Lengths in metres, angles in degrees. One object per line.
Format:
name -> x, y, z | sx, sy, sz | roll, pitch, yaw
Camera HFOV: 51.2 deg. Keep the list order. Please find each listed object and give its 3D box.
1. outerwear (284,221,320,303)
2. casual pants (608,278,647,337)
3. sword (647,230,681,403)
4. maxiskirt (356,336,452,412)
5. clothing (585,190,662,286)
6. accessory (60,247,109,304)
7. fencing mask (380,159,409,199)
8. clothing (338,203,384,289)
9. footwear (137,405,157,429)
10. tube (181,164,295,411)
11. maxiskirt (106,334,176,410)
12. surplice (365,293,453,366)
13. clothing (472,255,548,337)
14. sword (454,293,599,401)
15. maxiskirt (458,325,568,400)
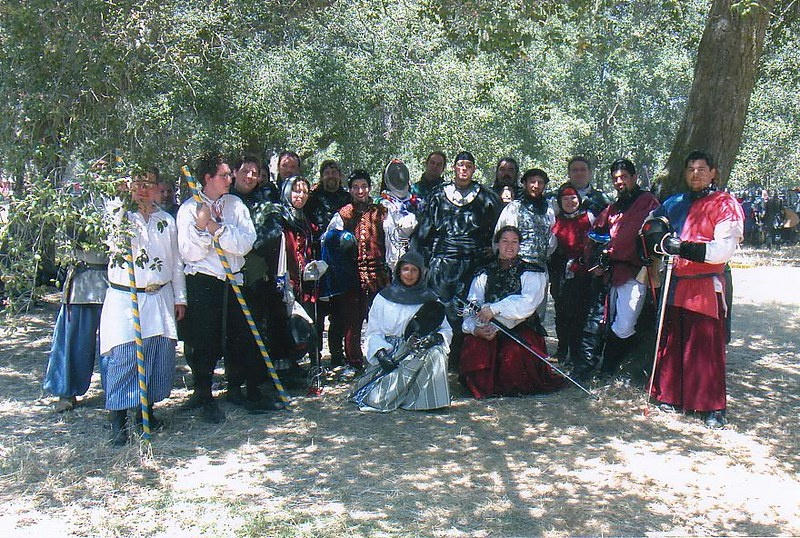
outerwear -> -1.237, -0.068, 10.172 | 0.330, 0.776, 0.582 | 4, 6, 7
casual pants -> 2.700, 0.455, 9.984 | 0.235, 0.662, 0.404 | 1, 8, -39
sword -> 2.916, 0.466, 9.319 | 0.308, 1.743, 0.249 | 10, 6, 6
maxiskirt -> 0.011, 1.209, 9.455 | 0.998, 0.462, 0.785 | -5, 12, 2
clothing -> 2.684, -0.325, 9.991 | 0.411, 1.064, 0.795 | 27, -38, -15
accessory -> -3.391, 0.071, 9.003 | 0.430, 0.612, 0.538 | 15, -12, -29
fencing mask -> -0.027, -1.260, 11.410 | 0.435, 0.511, 0.549 | -6, 19, -10
clothing -> -0.438, -0.267, 10.595 | 0.687, 1.024, 0.381 | 0, 1, -11
footwear -> -2.630, 1.528, 8.640 | 0.172, 0.210, 0.366 | 11, -17, -17
tube -> -1.806, 0.247, 9.253 | 0.233, 3.185, 0.144 | -25, 11, 21
maxiskirt -> -2.690, 1.034, 8.555 | 0.442, 0.570, 0.806 | -11, -6, 39
surplice -> 0.087, 0.706, 9.633 | 0.825, 0.704, 0.423 | 12, -3, -2
clothing -> 1.295, 0.370, 10.246 | 1.028, 0.998, 0.931 | -12, 15, 0
sword -> 1.511, 0.934, 9.830 | 1.702, 0.168, 0.246 | 39, 22, -18
maxiskirt -> 1.304, 1.196, 10.179 | 1.394, 0.576, 1.049 | 4, 13, 13
